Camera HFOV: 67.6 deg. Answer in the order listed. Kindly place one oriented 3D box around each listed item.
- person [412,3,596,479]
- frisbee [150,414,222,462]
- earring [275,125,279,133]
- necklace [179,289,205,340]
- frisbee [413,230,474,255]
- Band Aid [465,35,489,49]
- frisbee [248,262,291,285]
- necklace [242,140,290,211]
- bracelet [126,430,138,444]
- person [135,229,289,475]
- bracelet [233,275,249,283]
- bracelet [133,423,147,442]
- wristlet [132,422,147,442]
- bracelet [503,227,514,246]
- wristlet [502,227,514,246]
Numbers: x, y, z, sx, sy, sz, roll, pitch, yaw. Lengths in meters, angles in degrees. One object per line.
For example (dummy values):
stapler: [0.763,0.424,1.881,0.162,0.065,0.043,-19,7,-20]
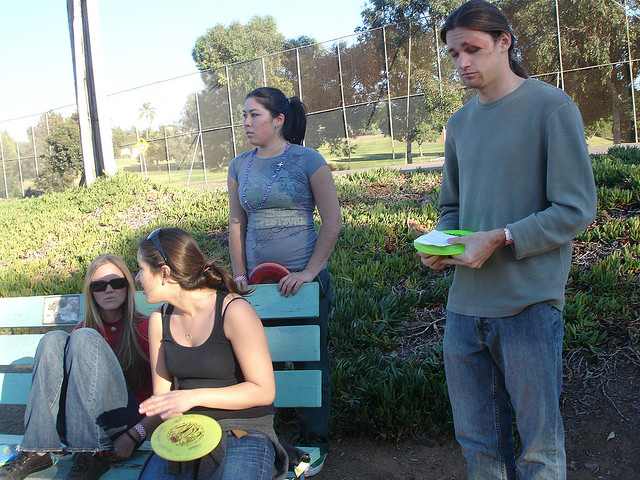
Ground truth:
person: [1.005,0.033,2.621,0.877,2.728,0.581,-1,6,32]
frisbee: [-0.687,1.011,2.442,0.350,0.150,0.259,-6,5,-8]
earring: [-0.336,-0.862,3.654,0.012,0.060,0.021,2,7,26]
necklace: [-0.754,0.463,2.753,0.174,0.235,0.018,1,-11,27]
frisbee: [0.706,0.006,2.649,0.352,0.103,0.290,-10,7,-41]
Band Aid: [0.831,-1.059,2.539,0.122,0.077,0.014,-5,5,3]
frisbee: [-0.361,0.244,3.570,0.348,0.170,0.196,-3,5,25]
necklace: [-0.374,-0.527,3.673,0.291,0.612,0.049,18,-5,44]
bracelet: [-1.243,1.295,3.146,0.018,0.070,0.071,-38,-9,-23]
person: [-0.629,0.633,2.706,0.781,1.425,0.519,-5,5,-6]
bracelet: [-0.603,0.291,3.653,0.106,0.044,0.161,-6,5,-11]
bracelet: [-1.191,1.276,3.177,0.033,0.091,0.073,-18,13,-42]
wristlet: [-1.190,1.274,3.180,0.076,0.102,0.038,5,30,46]
bracelet: [0.965,-0.022,2.454,0.062,0.071,0.063,-15,7,8]
wristlet: [0.966,-0.024,2.465,0.042,0.090,0.070,-3,5,10]
